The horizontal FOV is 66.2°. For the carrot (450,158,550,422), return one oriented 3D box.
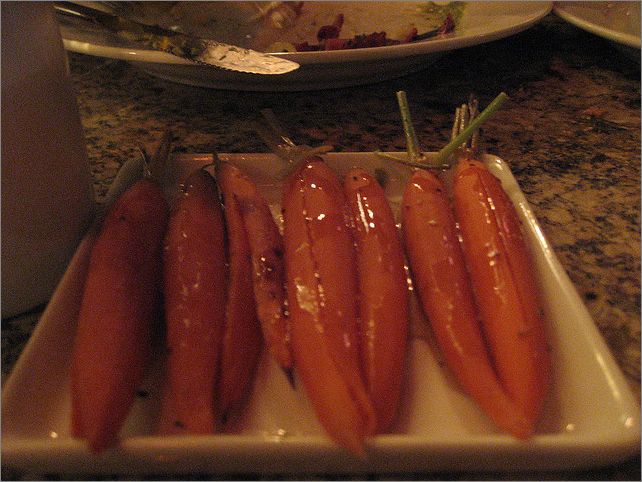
[{"bbox_3d":[0.145,0.036,0.486,0.051,0.066,0.221,-25,44,25],"label":"carrot"}]

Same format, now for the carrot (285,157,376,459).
[{"bbox_3d":[-0.002,0.060,0.472,0.070,0.057,0.237,-5,52,-2],"label":"carrot"}]

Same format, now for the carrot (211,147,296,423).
[{"bbox_3d":[-0.061,0.029,0.463,0.082,0.045,0.202,-3,62,-7],"label":"carrot"}]

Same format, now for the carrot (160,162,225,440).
[{"bbox_3d":[-0.089,0.055,0.445,0.053,0.064,0.228,-5,61,1],"label":"carrot"}]
